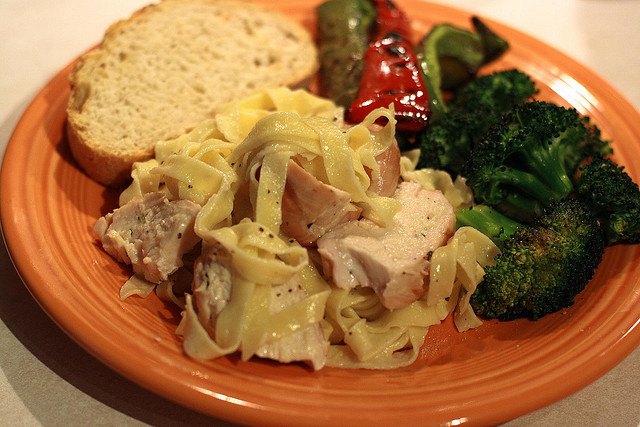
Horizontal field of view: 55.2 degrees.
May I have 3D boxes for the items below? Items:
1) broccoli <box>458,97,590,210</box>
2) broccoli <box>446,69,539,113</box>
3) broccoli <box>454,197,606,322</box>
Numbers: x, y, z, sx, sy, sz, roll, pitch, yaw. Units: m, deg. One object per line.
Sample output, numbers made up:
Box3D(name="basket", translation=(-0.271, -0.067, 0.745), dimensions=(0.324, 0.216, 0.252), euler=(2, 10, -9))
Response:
Box3D(name="broccoli", translation=(1.353, -0.457, 4.631), dimensions=(0.747, 0.958, 0.860), euler=(34, 31, 10))
Box3D(name="broccoli", translation=(1.422, -0.957, 5.015), dimensions=(0.475, 0.378, 0.686), euler=(-12, 17, -21))
Box3D(name="broccoli", translation=(1.487, 0.293, 4.387), dimensions=(0.632, 0.832, 1.090), euler=(-11, 18, -9))
